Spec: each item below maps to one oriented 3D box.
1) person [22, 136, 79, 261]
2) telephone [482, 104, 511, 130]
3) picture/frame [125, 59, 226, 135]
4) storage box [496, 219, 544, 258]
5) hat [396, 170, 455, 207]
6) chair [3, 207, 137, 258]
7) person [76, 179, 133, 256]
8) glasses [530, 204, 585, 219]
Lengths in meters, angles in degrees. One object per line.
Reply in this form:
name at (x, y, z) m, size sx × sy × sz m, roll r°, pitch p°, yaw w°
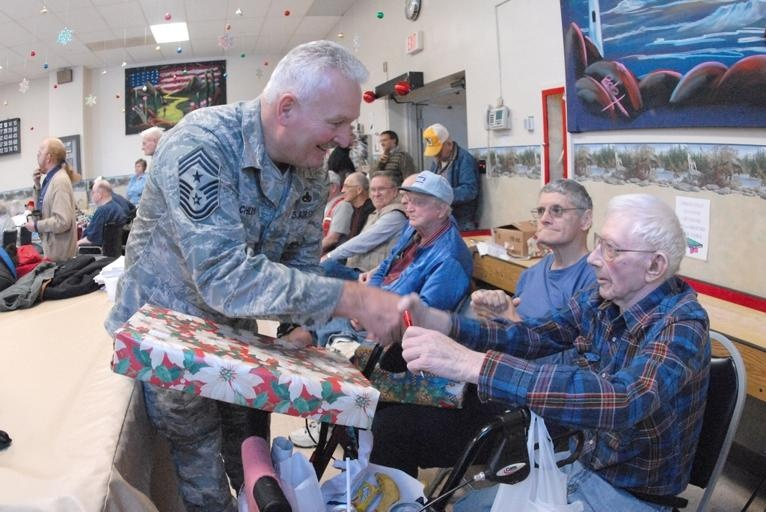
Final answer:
person at (-3.098, -0.527, 5.162) m, size 0.471 × 1.121 × 0.884 m, roll -8°, pitch 11°, yaw -28°
telephone at (1.043, -1.260, 5.004) m, size 0.144 × 0.297 × 0.300 m, roll 1°, pitch -2°, yaw -29°
picture/frame at (-4.106, -3.192, 10.905) m, size 2.021 × 1.261 × 0.031 m, roll -4°, pitch -8°, yaw 6°
storage box at (1.043, -0.119, 4.270) m, size 0.392 × 0.185 × 0.406 m, roll 9°, pitch -4°, yaw -6°
hat at (0.285, -0.422, 3.355) m, size 0.357 × 0.187 × 0.256 m, roll 5°, pitch 9°, yaw -16°
chair at (-2.952, -0.217, 5.203) m, size 0.735 × 0.657 × 0.549 m, roll 6°, pitch 6°, yaw -1°
person at (-3.195, -0.422, 6.273) m, size 0.558 × 0.877 × 0.593 m, roll 17°, pitch 21°, yaw 3°
glasses at (0.993, -0.249, 3.088) m, size 0.177 × 0.054 × 0.174 m, roll 3°, pitch -3°, yaw -38°
